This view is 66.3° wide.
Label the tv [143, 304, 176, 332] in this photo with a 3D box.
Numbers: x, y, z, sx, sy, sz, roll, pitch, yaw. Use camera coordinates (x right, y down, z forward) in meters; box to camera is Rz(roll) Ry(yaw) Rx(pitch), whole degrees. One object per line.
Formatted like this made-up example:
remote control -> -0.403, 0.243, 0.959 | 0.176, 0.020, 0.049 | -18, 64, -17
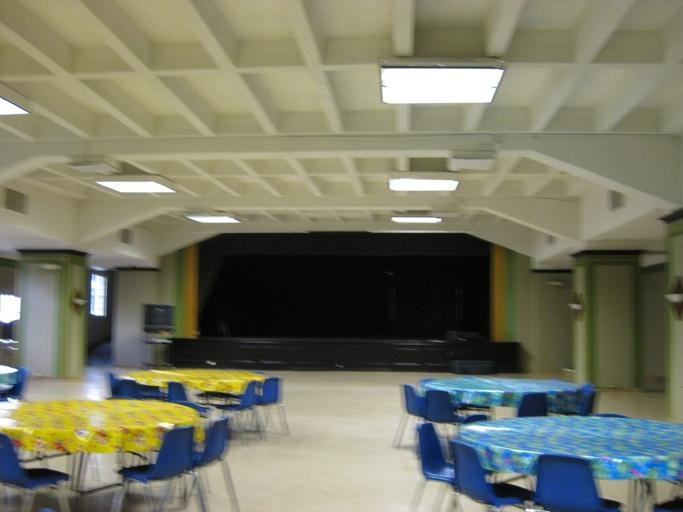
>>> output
tv -> -6.292, 2.169, 18.274 | 0.997, 0.922, 0.973 | 5, -5, -39
